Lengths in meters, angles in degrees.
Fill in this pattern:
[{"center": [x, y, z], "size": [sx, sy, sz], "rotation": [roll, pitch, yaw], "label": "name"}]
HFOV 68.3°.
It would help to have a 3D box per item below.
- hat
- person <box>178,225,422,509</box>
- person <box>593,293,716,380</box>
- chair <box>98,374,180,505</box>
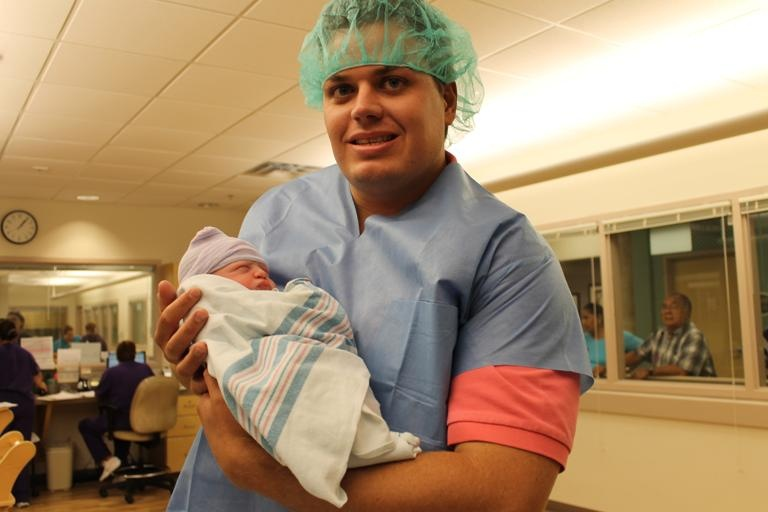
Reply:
[{"center": [-0.556, -0.010, 1.879], "size": [0.285, 0.175, 0.206], "rotation": [-13, -5, -11], "label": "hat"}, {"center": [-0.327, 0.247, 1.530], "size": [0.478, 0.771, 0.235], "rotation": [-28, -25, -41], "label": "person"}, {"center": [2.339, 0.754, 4.738], "size": [0.964, 0.869, 0.665], "rotation": [7, -12, -6], "label": "person"}, {"center": [-2.712, 2.015, 6.392], "size": [0.837, 1.230, 0.858], "rotation": [-6, -12, 9], "label": "chair"}]
